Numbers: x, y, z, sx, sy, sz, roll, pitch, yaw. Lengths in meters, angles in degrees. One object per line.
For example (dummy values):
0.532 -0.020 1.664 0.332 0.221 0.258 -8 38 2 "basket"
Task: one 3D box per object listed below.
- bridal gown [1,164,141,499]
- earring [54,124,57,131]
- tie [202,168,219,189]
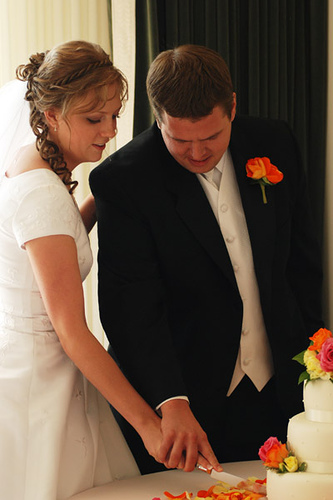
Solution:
-0.300 0.211 1.368 0.412 0.796 0.387 -14 17 -38 "bridal gown"
-0.324 -0.354 1.438 0.005 0.018 0.020 -10 11 -12 "earring"
0.135 -0.227 1.554 0.047 0.032 0.057 6 47 -26 "tie"
